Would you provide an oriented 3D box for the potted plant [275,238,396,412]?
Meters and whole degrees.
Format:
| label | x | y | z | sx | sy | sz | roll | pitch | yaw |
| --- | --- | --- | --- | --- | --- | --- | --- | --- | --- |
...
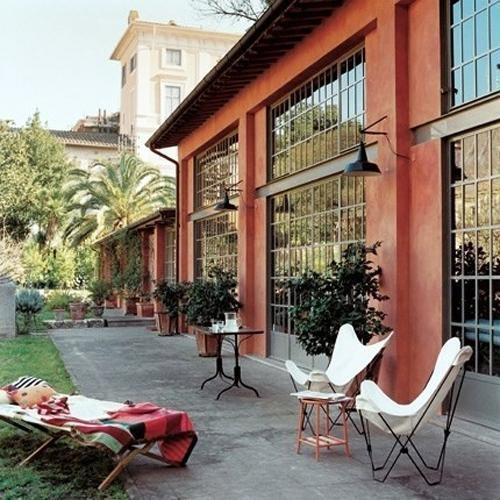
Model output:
| label | x | y | z | sx | sy | sz | roll | pitch | yaw |
| --- | --- | --- | --- | --- | --- | --- | --- | --- | --- |
| potted plant | 1.033 | 0.751 | 6.645 | 1.190 | 1.935 | 1.185 | -2 | 1 | 5 |

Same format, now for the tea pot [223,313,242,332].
| label | x | y | z | sx | sy | sz | roll | pitch | yaw |
| --- | --- | --- | --- | --- | --- | --- | --- | --- | --- |
| tea pot | -0.232 | 0.965 | 7.559 | 0.199 | 0.247 | 0.174 | 2 | -4 | -16 |

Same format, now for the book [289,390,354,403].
| label | x | y | z | sx | sy | sz | roll | pitch | yaw |
| --- | --- | --- | --- | --- | --- | --- | --- | --- | --- |
| book | 0.594 | 1.218 | 4.628 | 0.445 | 0.052 | 0.305 | -2 | -4 | 44 |

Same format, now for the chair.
| label | x | y | z | sx | sy | sz | roll | pitch | yaw |
| --- | --- | --- | --- | --- | --- | --- | --- | --- | --- |
| chair | 1.020 | 1.226 | 4.944 | 1.285 | 1.023 | 2.097 | 1 | -3 | -1 |

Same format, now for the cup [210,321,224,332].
| label | x | y | z | sx | sy | sz | roll | pitch | yaw |
| --- | --- | --- | --- | --- | --- | --- | --- | --- | --- |
| cup | -0.431 | 1.026 | 7.521 | 0.103 | 0.152 | 0.127 | 1 | -8 | -6 |

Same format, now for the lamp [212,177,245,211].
| label | x | y | z | sx | sy | sz | roll | pitch | yaw |
| --- | --- | --- | --- | --- | --- | --- | --- | --- | --- |
| lamp | -0.408 | -1.056 | 10.705 | 0.554 | 0.740 | 0.597 | -1 | -2 | 4 |

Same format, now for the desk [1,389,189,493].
| label | x | y | z | sx | sy | sz | roll | pitch | yaw |
| --- | --- | --- | --- | --- | --- | --- | --- | --- | --- |
| desk | -1.199 | 1.473 | 4.417 | 1.442 | 0.534 | 0.977 | -1 | -3 | 31 |

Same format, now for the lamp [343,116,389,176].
| label | x | y | z | sx | sy | sz | roll | pitch | yaw |
| --- | --- | --- | --- | --- | --- | --- | --- | --- | --- |
| lamp | 1.306 | -1.149 | 6.195 | 0.438 | 0.709 | 0.354 | 3 | -9 | -12 |
